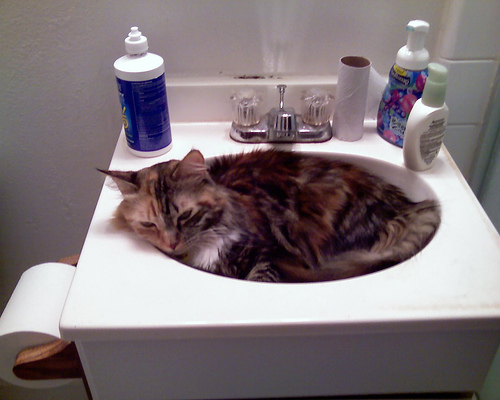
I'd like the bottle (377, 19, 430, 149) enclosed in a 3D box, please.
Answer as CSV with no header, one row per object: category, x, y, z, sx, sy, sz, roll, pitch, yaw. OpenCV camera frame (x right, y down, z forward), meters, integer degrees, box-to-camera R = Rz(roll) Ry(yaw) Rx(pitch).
bottle,0.332,-0.244,0.967,0.100,0.261,0.072,23,36,33

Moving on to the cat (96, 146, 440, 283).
cat,0.065,0.035,0.944,0.651,0.269,0.347,-6,14,4

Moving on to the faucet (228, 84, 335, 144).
faucet,0.071,-0.200,1.043,0.237,0.134,0.115,0,15,-1

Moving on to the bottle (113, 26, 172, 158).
bottle,-0.222,-0.229,0.959,0.097,0.261,0.101,1,42,-1

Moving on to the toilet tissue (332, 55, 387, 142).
toilet tissue,0.213,-0.227,0.996,0.099,0.191,0.077,8,2,30

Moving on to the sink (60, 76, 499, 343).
sink,0.069,-0.040,0.888,0.723,0.157,0.595,-1,41,0

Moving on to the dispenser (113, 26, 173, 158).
dispenser,-0.207,-0.217,0.997,0.110,0.268,0.126,-6,32,-8

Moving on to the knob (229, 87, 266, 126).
knob,-0.006,-0.204,1.007,0.079,0.064,0.080,-1,43,2

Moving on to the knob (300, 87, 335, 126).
knob,0.145,-0.203,1.013,0.069,0.062,0.079,-1,41,2
